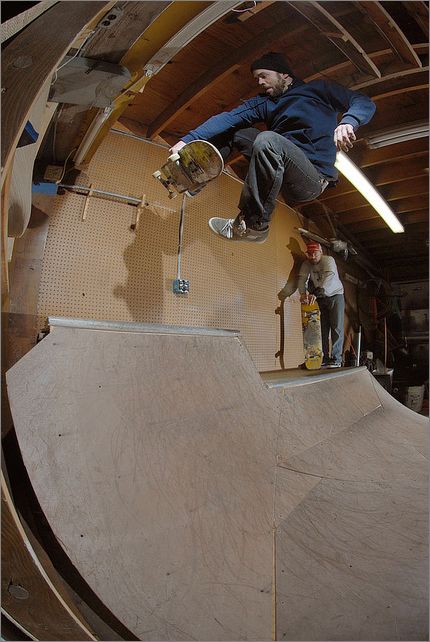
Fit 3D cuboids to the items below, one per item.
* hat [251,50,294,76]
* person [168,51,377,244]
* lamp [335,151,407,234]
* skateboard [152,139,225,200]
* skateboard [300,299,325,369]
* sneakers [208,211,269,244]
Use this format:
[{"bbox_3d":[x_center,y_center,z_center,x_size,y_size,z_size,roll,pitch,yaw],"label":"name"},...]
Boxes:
[{"bbox_3d":[0.334,-1.485,2.571,0.139,0.108,0.192,17,13,42],"label":"hat"},{"bbox_3d":[0.358,-1.037,2.578,0.989,1.058,0.639,5,-4,-8],"label":"person"},{"bbox_3d":[1.815,-1.517,5.158,1.530,0.067,0.205,33,7,-38],"label":"lamp"},{"bbox_3d":[-0.133,-0.834,2.429,0.183,0.077,0.514,37,-21,-17],"label":"skateboard"},{"bbox_3d":[1.137,0.161,5.188,0.219,0.834,0.127,1,-2,25],"label":"skateboard"},{"bbox_3d":[0.128,-0.555,2.717,0.384,0.157,0.161,17,6,20],"label":"sneakers"}]
